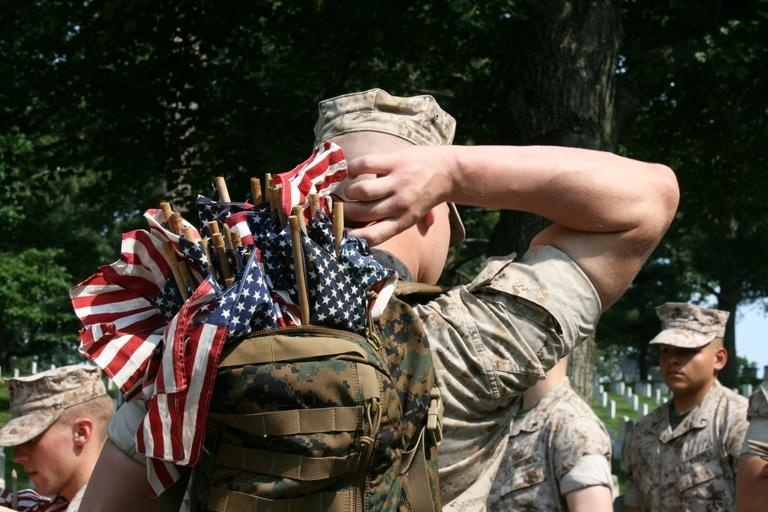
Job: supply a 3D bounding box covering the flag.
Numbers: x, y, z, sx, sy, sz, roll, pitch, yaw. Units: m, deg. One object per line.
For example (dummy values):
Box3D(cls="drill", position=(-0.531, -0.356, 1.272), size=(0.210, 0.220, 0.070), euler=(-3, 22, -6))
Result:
Box3D(cls="flag", position=(-1.970, 0.556, 16.915), size=(3.860, 3.352, 1.426), euler=(-3, -16, 2))
